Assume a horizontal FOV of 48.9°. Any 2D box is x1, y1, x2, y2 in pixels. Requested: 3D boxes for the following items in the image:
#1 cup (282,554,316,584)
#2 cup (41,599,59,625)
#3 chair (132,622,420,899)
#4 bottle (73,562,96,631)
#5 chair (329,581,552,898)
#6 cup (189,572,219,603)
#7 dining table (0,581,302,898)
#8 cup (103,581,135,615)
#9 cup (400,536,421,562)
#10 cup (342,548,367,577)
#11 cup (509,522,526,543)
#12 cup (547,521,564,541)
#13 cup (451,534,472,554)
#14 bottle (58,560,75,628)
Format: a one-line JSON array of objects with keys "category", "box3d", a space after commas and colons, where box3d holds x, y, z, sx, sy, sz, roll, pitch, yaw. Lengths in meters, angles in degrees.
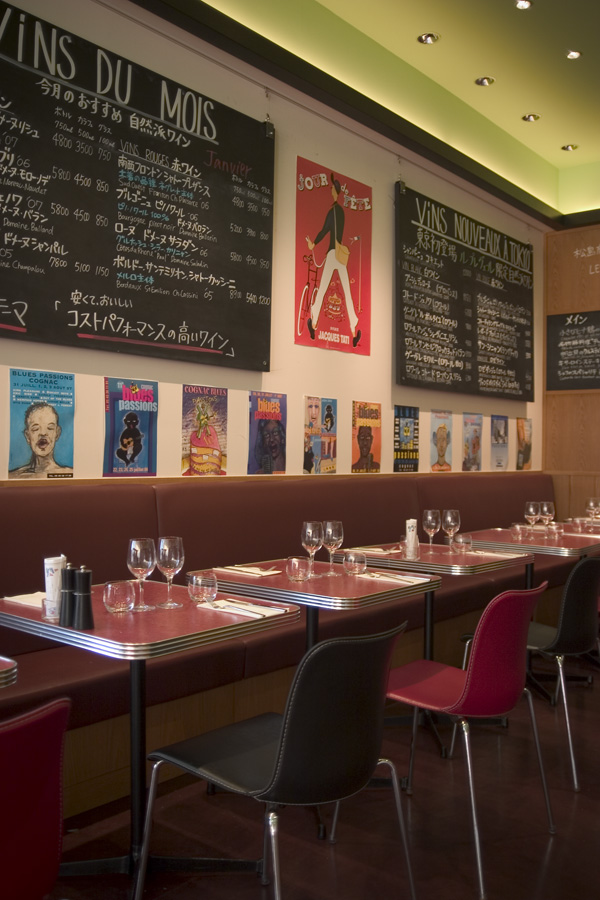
[{"category": "cup", "box3d": [-0.016, 0.386, 2.129, 0.076, 0.067, 0.085, -1, -1, 7]}, {"category": "cup", "box3d": [-0.599, 0.385, 1.564, 0.049, 0.059, 0.050, 0, -6, 0]}, {"category": "chair", "box3d": [-0.051, 0.555, 1.306, 0.345, 0.449, 0.502, 4, -6, -38]}, {"category": "bottle", "box3d": [-0.481, 0.326, 1.460, 0.045, 0.122, 0.156, 2, -5, -17]}, {"category": "chair", "box3d": [0.555, 0.791, 2.374, 0.747, 1.264, 0.729, 2, -1, 39]}, {"category": "cup", "box3d": [-0.262, 0.364, 1.756, 0.069, 0.076, 0.072, 0, -6, 0]}, {"category": "dining table", "box3d": [-0.382, 0.485, 1.775, 0.693, 0.740, 0.720, 6, 6, 35]}, {"category": "cup", "box3d": [-0.429, 0.346, 1.563, 0.075, 0.082, 0.078, 1, -6, 0]}, {"category": "cup", "box3d": [0.465, 0.417, 2.778, 0.075, 0.149, 0.083, 0, -2, 22]}, {"category": "cup", "box3d": [0.187, 0.399, 2.291, 0.065, 0.072, 0.073, -1, -3, 16]}, {"category": "cup", "box3d": [1.191, 0.458, 3.620, 0.095, 0.113, 0.107, -1, -6, 3]}, {"category": "cup", "box3d": [1.428, 0.458, 3.684, 0.112, 0.122, 0.117, -1, -6, 0]}, {"category": "cup", "box3d": [0.707, 0.416, 2.902, 0.069, 0.073, 0.072, -1, -3, 0]}, {"category": "bottle", "box3d": [-0.532, 0.329, 1.499, 0.028, 0.120, 0.189, 3, -5, -21]}]
